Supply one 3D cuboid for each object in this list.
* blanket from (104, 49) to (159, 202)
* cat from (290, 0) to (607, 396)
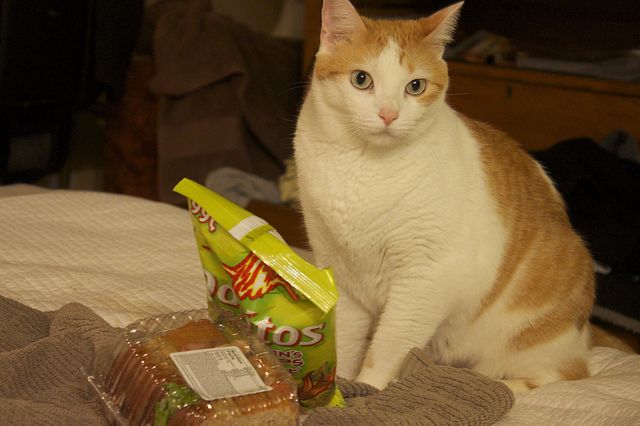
[{"bbox_3d":[-0.621,-0.263,1.970,0.221,0.536,0.027,-20,39,-31],"label":"blanket"},{"bbox_3d":[0.354,0.001,1.509,0.819,0.893,0.615,-1,32,-6],"label":"cat"}]
